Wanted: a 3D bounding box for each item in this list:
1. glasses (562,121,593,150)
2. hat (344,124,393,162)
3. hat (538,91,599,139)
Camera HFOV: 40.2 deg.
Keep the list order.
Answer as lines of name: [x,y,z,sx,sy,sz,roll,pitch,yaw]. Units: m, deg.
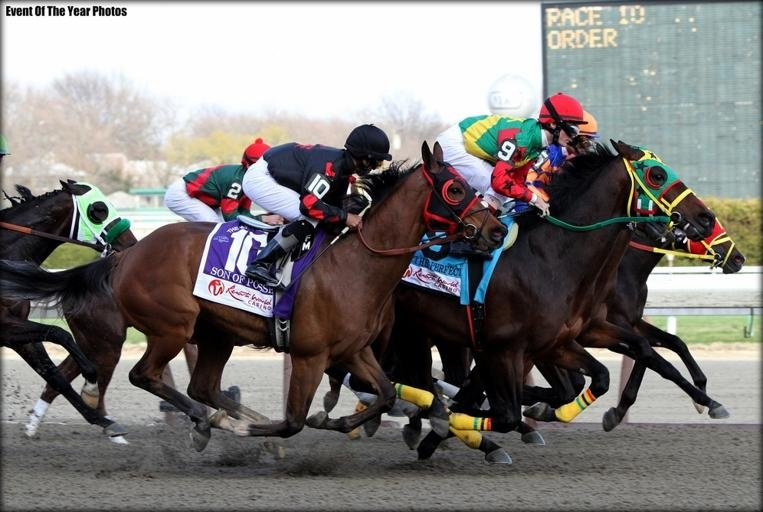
glasses: [1.631,-0.979,8.478,0.311,0.186,0.194,-14,21,-17]
hat: [-0.109,-0.868,7.893,0.439,0.214,0.272,6,25,-22]
hat: [1.487,-1.142,8.426,0.570,0.272,0.366,14,18,3]
